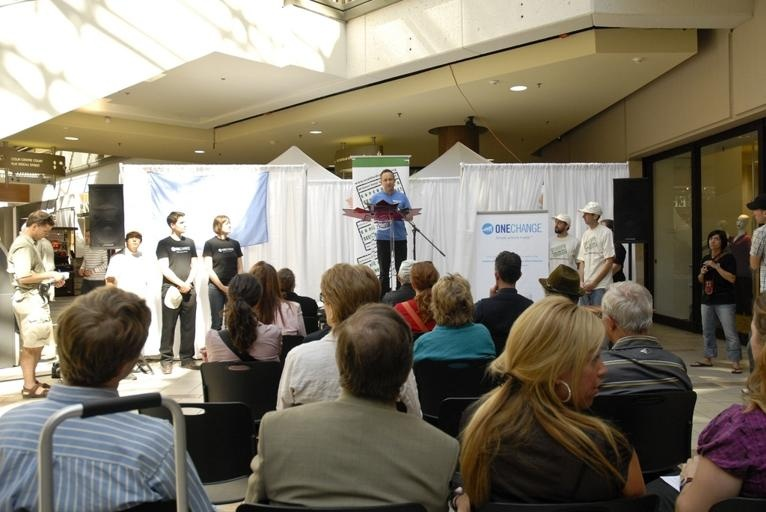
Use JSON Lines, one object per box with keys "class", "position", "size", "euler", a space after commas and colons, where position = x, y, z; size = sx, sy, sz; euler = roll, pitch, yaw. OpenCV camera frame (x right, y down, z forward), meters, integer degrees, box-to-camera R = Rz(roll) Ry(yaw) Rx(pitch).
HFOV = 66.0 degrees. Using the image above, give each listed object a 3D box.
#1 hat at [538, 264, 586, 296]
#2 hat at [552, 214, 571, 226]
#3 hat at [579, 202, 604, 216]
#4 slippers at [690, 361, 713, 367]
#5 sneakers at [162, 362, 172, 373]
{"class": "hat", "position": [1.486, 0.220, 4.865], "size": [0.273, 0.289, 0.364], "euler": [0, -2, 19]}
{"class": "hat", "position": [2.527, -0.488, 8.232], "size": [0.213, 0.084, 0.150], "euler": [19, -7, -35]}
{"class": "hat", "position": [2.824, -0.606, 7.867], "size": [0.333, 0.200, 0.254], "euler": [2, 3, -13]}
{"class": "slippers", "position": [3.814, 1.301, 7.085], "size": [0.253, 0.065, 0.106], "euler": [2, -3, 0]}
{"class": "sneakers", "position": [-2.646, 1.379, 7.275], "size": [0.101, 0.143, 0.142], "euler": [3, -20, -13]}
